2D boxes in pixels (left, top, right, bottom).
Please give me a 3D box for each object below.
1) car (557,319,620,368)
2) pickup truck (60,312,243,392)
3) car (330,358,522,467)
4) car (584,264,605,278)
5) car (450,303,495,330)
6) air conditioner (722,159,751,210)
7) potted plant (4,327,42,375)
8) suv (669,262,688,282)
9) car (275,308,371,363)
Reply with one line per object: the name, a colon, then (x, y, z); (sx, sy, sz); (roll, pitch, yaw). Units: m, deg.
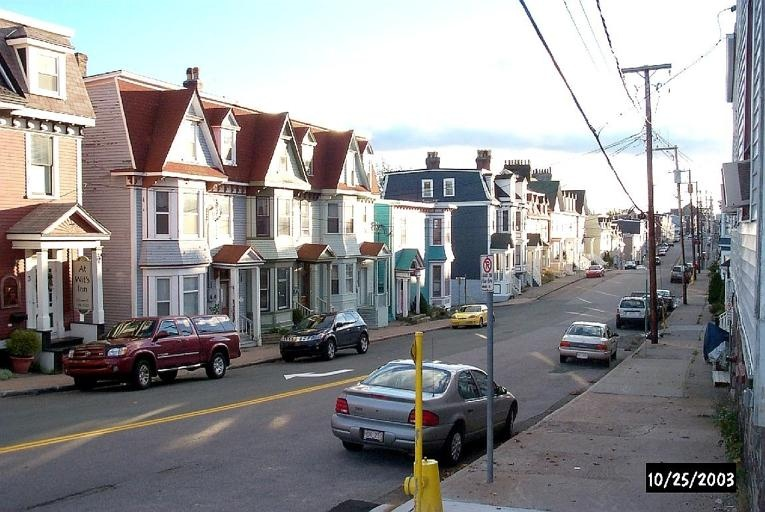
car: (8.554, 3.700, 30.842); (2.331, 1.788, 1.536); (-4, 0, 4)
pickup truck: (-8.011, 3.402, 25.948); (2.657, 1.847, 5.060); (-5, -8, 30)
car: (1.085, 3.966, 18.243); (4.395, 2.534, 2.078); (-3, 0, -34)
car: (24.571, 1.907, 85.037); (1.579, 1.427, 1.738); (-3, -1, -44)
car: (5.449, 3.882, 46.086); (2.096, 1.419, 2.195); (-4, -1, 18)
air conditioner: (8.610, -1.773, 17.848); (0.604, 1.206, 1.407); (-4, 0, 24)
potted plant: (-13.528, 3.540, 27.258); (1.380, 1.574, 1.388); (3, -4, -11)
suv: (30.228, 1.761, 74.862); (1.710, 1.591, 3.204); (-1, 7, 22)
car: (-2.609, 3.626, 32.642); (1.763, 2.177, 3.921); (-4, -1, 36)
